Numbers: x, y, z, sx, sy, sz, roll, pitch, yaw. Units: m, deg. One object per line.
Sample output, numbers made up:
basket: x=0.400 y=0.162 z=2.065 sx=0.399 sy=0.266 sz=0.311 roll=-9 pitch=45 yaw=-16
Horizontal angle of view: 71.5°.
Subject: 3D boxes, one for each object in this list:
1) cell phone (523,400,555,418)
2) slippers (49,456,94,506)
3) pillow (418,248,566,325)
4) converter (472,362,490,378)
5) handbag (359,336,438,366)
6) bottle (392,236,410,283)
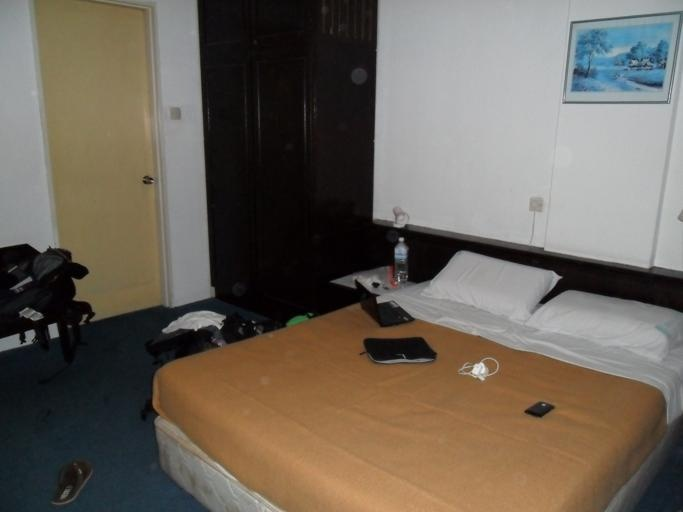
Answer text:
cell phone: x=0.927 y=0.711 z=2.210 sx=0.156 sy=0.021 sz=0.077 roll=-12 pitch=26 yaw=-33
slippers: x=-1.439 y=1.206 z=2.536 sx=0.166 sy=0.017 sz=0.298 roll=-4 pitch=22 yaw=-16
pillow: x=1.033 y=0.140 z=3.466 sx=1.262 sy=0.424 sz=0.868 roll=10 pitch=15 yaw=39
converter: x=0.738 y=0.607 z=2.511 sx=0.061 sy=0.038 sz=0.094 roll=-10 pitch=-8 yaw=37
handbag: x=0.324 y=0.523 z=2.670 sx=0.189 sy=0.054 sz=0.195 roll=0 pitch=0 yaw=-1
bottle: x=0.481 y=0.040 z=3.821 sx=0.106 sy=0.336 sz=0.262 roll=3 pitch=21 yaw=3
